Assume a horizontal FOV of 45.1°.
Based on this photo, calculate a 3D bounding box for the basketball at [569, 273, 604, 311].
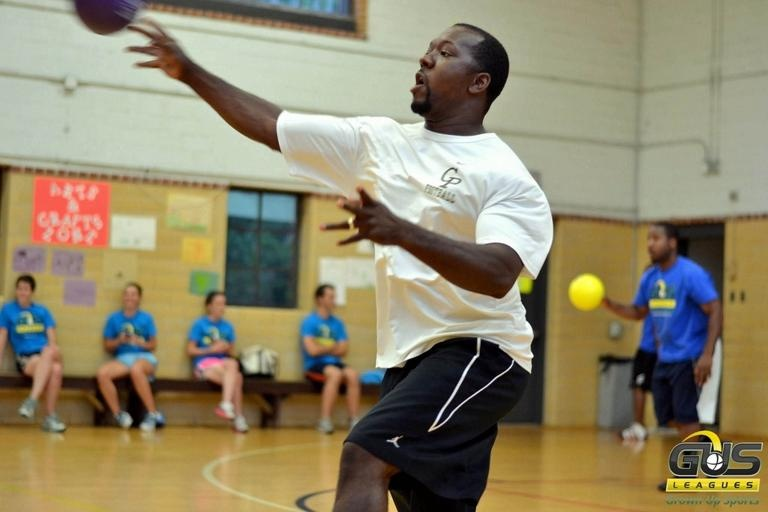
[{"bbox_3d":[1.278,0.232,6.017,0.241,0.242,0.282,3,0,29],"label":"basketball"}]

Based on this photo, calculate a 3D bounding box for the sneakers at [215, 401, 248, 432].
[{"bbox_3d":[-1.281,1.387,7.977,0.364,0.145,0.175,45,14,-34],"label":"sneakers"}]

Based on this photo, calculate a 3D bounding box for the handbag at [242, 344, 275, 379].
[{"bbox_3d":[-1.078,0.886,7.848,0.348,0.171,0.450,0,-2,-9],"label":"handbag"}]

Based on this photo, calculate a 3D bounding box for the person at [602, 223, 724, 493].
[{"bbox_3d":[1.915,0.528,6.193,0.631,1.402,1.327,2,-3,25],"label":"person"}]

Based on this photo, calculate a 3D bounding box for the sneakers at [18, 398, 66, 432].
[{"bbox_3d":[-2.952,1.337,7.876,0.485,0.184,0.229,2,-3,22],"label":"sneakers"}]

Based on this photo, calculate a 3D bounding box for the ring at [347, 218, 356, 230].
[{"bbox_3d":[-0.138,-0.141,3.978,0.020,0.050,0.037,-6,-18,1],"label":"ring"}]
